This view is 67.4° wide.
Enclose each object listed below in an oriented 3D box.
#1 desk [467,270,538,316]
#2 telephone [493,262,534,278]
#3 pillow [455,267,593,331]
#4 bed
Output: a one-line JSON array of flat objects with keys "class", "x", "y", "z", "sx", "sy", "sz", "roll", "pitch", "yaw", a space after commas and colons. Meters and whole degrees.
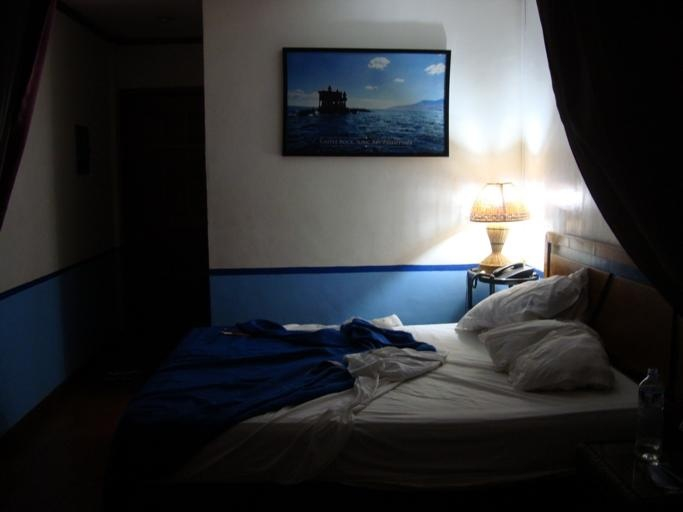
[{"class": "desk", "x": 1.112, "y": 0.274, "z": 3.842, "sx": 0.314, "sy": 0.284, "sz": 0.354, "roll": 14, "pitch": 4, "yaw": 16}, {"class": "telephone", "x": 1.232, "y": 0.102, "z": 3.660, "sx": 0.200, "sy": 0.076, "sz": 0.130, "roll": -2, "pitch": 1, "yaw": -5}, {"class": "pillow", "x": 1.080, "y": 0.269, "z": 2.974, "sx": 0.432, "sy": 0.166, "sz": 0.427, "roll": -22, "pitch": 5, "yaw": 9}, {"class": "bed", "x": 0.188, "y": 0.336, "z": 2.394, "sx": 1.646, "sy": 0.693, "sz": 1.252, "roll": 1, "pitch": 10, "yaw": 1}]
